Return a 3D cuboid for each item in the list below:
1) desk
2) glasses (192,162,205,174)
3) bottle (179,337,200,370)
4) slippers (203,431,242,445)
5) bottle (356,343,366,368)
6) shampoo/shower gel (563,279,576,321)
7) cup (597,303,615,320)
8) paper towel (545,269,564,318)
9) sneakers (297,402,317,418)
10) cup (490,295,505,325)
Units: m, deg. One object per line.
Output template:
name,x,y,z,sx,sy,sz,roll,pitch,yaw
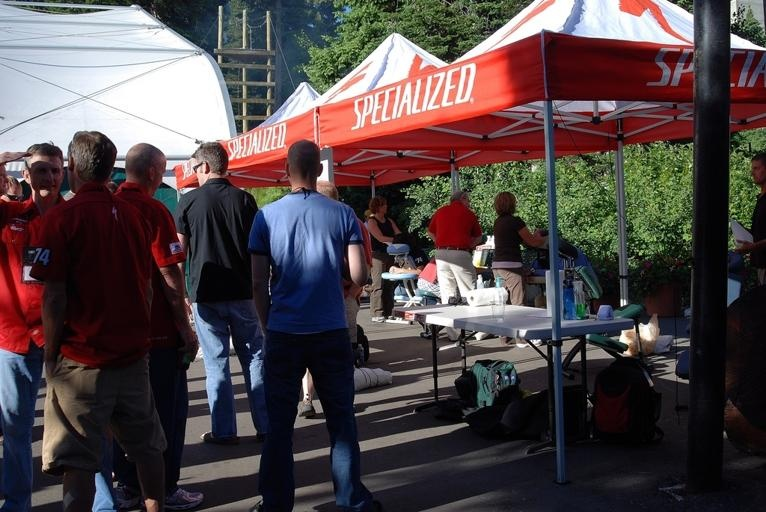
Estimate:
desk,1.323,1.127,7.825,1.386,1.332,2.038,-4,0,-27
glasses,-1.786,-0.844,7.644,0.087,0.065,0.124,-14,7,0
bottle,-1.603,0.800,6.556,0.075,0.215,0.150,21,-8,-13
slippers,-1.589,1.768,7.765,0.363,0.128,0.135,3,-2,23
bottle,-0.305,1.249,10.124,0.190,0.267,0.273,-2,-12,2
shampoo/shower gel,1.731,0.403,7.446,0.117,0.352,0.120,-3,0,15
cup,2.066,0.520,7.466,0.137,0.150,0.148,-1,6,0
paper towel,1.541,0.347,7.363,0.124,0.334,0.144,-2,-2,-4
sneakers,-0.827,1.592,8.468,0.200,0.200,0.124,10,13,39
cup,1.122,0.505,7.844,0.199,0.231,0.171,3,-7,-26
